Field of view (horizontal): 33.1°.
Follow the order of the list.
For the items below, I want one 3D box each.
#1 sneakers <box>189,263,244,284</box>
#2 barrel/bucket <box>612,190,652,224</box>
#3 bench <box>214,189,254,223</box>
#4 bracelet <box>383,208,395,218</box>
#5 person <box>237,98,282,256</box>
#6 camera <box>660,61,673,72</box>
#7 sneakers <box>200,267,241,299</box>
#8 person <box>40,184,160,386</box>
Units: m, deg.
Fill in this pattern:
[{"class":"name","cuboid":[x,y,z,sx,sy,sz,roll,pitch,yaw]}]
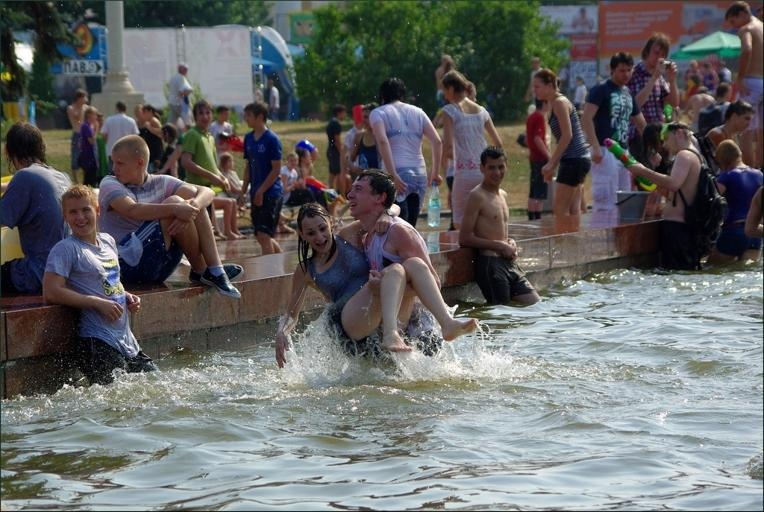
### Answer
[{"class":"sneakers","cuboid":[-1.794,0.189,13.973,0.593,0.250,0.227,-8,11,-15]},{"class":"barrel/bucket","cuboid":[3.464,-0.680,17.825,0.471,0.374,0.434,1,-7,0]},{"class":"bench","cuboid":[-2.297,-0.763,20.826,0.575,0.159,0.594,1,-38,-6]},{"class":"bracelet","cuboid":[0.083,-0.432,13.003,0.079,0.082,0.019,8,-43,-25]},{"class":"person","cuboid":[-1.537,-0.839,16.802,0.634,2.318,0.669,-4,9,-31]},{"class":"camera","cuboid":[4.092,-2.744,18.612,0.151,0.126,0.177,0,4,25]},{"class":"sneakers","cuboid":[-1.718,0.305,13.864,0.499,0.215,0.203,37,13,-27]},{"class":"person","cuboid":[-2.853,0.292,12.870,0.992,1.958,0.416,-3,4,-16]}]
